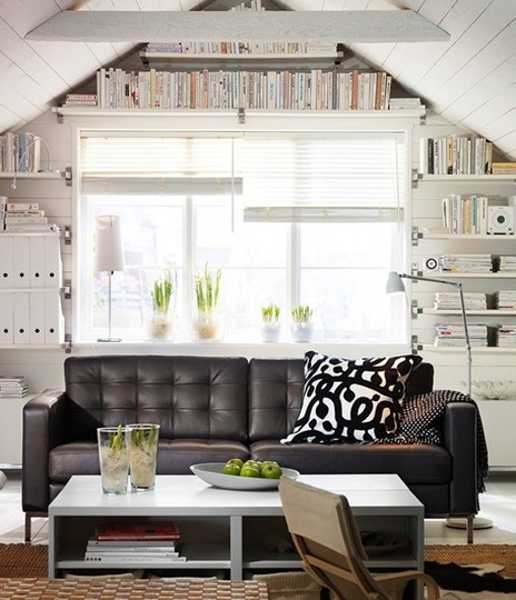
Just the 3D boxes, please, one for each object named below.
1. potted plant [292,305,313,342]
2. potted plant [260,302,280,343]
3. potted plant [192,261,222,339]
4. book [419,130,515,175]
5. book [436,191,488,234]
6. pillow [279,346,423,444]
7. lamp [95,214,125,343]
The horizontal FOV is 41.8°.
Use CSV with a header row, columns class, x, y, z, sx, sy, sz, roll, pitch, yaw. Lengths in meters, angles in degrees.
class,x,y,z,sx,sy,sz,roll,pitch,yaw
potted plant,0.311,0.171,4.740,0.141,0.252,0.092,0,1,1
potted plant,0.087,0.163,4.737,0.127,0.268,0.110,0,1,-17
potted plant,-0.350,0.014,4.776,0.196,0.526,0.324,0,1,-6
book,1.371,-1.003,4.649,0.483,0.292,0.080,0,1,4
book,1.430,-0.593,4.659,0.302,0.292,0.199,1,1,13
pillow,0.494,0.503,3.464,0.648,0.418,0.376,1,1,12
lamp,-1.038,-0.146,4.694,0.181,0.868,0.432,0,1,-14
